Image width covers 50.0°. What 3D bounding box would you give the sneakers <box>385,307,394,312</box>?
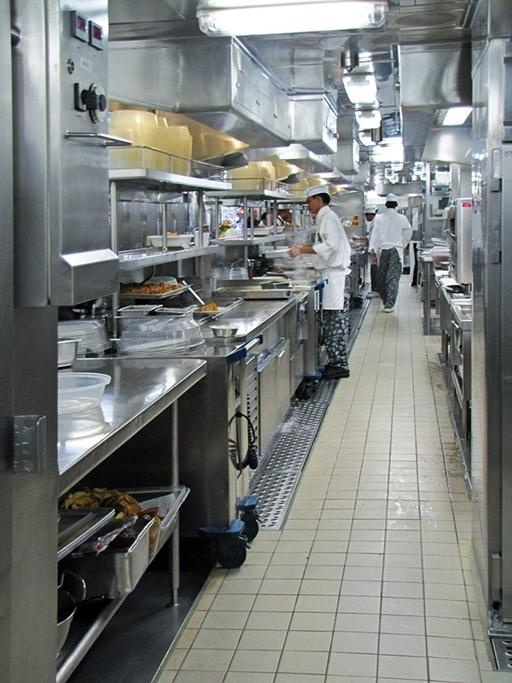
[{"bbox_3d":[2.412,-0.576,9.919,0.067,0.077,0.185,-1,-3,20],"label":"sneakers"}]

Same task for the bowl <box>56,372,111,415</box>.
[{"bbox_3d":[-0.499,0.132,1.505,0.193,0.065,0.177,4,9,-1],"label":"bowl"}]

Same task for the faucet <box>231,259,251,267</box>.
[{"bbox_3d":[-0.154,-0.847,5.957,0.201,0.078,0.201,2,6,11],"label":"faucet"}]

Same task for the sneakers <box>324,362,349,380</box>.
[{"bbox_3d":[0.845,0.312,5.748,0.249,0.167,0.218,-2,6,8],"label":"sneakers"}]
